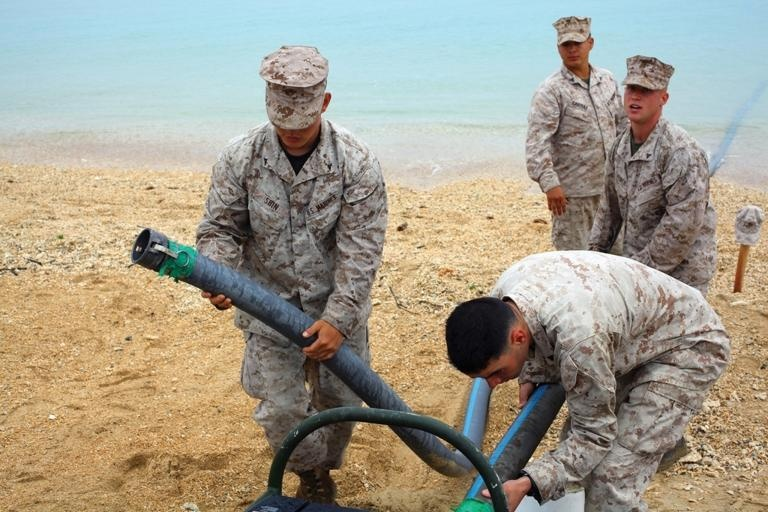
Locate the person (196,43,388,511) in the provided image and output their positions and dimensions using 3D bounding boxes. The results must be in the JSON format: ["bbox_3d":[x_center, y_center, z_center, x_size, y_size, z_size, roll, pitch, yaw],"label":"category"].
[{"bbox_3d":[-0.638,0.276,4.837,1.228,3.331,0.889,3,20,-1],"label":"person"}]

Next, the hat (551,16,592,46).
[{"bbox_3d":[1.869,-2.235,6.850,0.365,0.291,0.459,8,20,12],"label":"hat"}]

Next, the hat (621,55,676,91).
[{"bbox_3d":[2.135,-1.483,5.575,0.356,0.258,0.290,10,20,15],"label":"hat"}]

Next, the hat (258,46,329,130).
[{"bbox_3d":[-0.592,-1.102,4.526,0.423,0.502,0.304,0,20,-10],"label":"hat"}]

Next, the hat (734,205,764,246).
[{"bbox_3d":[3.705,-0.298,7.025,0.235,0.425,0.256,13,22,24],"label":"hat"}]
